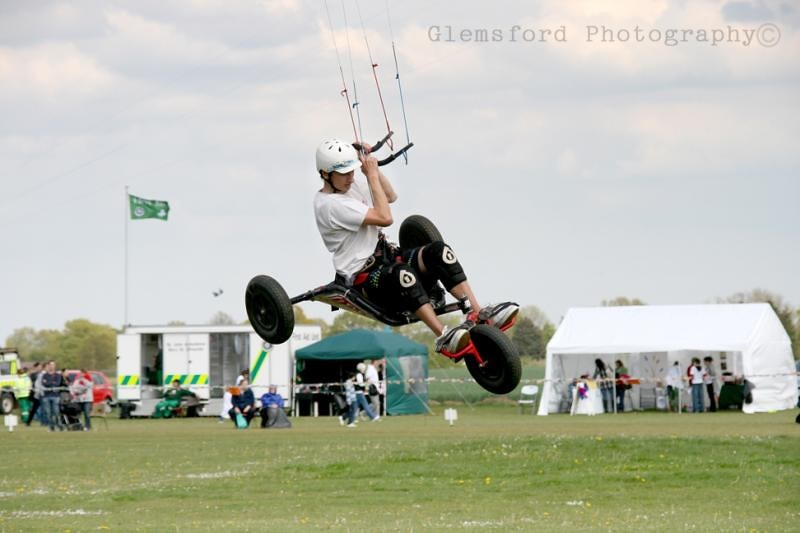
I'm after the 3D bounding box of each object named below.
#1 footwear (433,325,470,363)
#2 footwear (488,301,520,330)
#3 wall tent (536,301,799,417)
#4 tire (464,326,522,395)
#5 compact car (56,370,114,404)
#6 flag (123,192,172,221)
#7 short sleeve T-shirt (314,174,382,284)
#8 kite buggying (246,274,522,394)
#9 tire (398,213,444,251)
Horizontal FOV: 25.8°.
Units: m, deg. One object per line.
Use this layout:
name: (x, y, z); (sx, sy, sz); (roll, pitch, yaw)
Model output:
footwear: (1.070, 1.580, 35.562); (0.469, 0.381, 1.051); (10, 19, 18)
footwear: (2.138, 1.004, 35.818); (0.568, 0.565, 0.485); (-1, 1, 19)
wall tent: (8.601, 2.824, 54.627); (7.328, 3.422, 4.714); (-1, 1, 22)
tire: (1.886, 1.874, 35.985); (1.395, 1.508, 0.506); (18, 36, 36)
compact car: (-10.659, 4.136, 61.311); (2.492, 1.192, 1.411); (6, -5, -18)
flag: (-8.143, -1.836, 56.249); (1.822, 1.355, 0.201); (2, -5, -2)
short sleeve T-shirt: (-0.977, -0.777, 35.361); (1.081, 1.890, 1.675); (-11, 14, 11)
kite buggying: (-0.195, 1.204, 36.216); (4.463, 1.429, 3.439); (12, 11, 38)
tire: (0.397, -0.708, 36.974); (0.230, 0.738, 0.742); (-8, -12, -42)
